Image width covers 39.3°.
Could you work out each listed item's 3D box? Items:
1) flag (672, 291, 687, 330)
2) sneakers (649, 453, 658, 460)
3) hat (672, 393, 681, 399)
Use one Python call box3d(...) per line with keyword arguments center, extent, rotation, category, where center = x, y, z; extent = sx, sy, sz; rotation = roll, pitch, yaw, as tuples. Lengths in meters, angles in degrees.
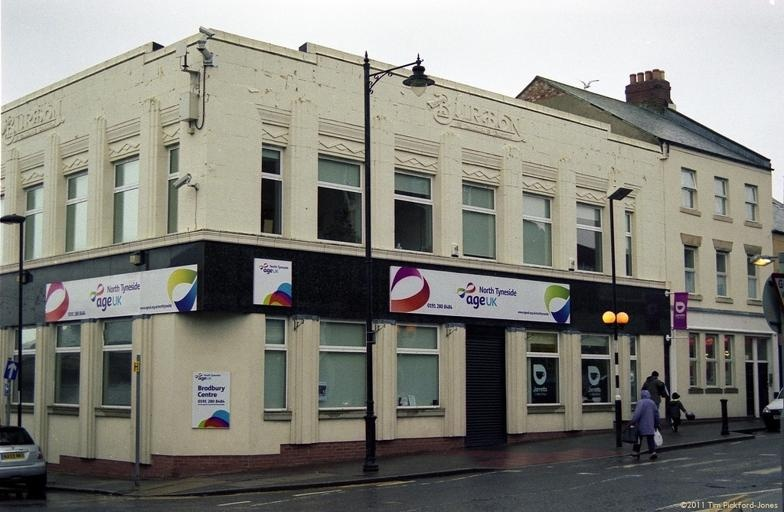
box3d(center=(13.719, 2.446, 52.142), extent=(0.924, 1.814, 0.696), rotation=(-8, -15, 25), category="flag")
box3d(center=(9.644, 7.339, 40.194), extent=(0.214, 0.230, 0.540), rotation=(-1, -7, 8), category="sneakers")
box3d(center=(12.500, 6.100, 48.162), extent=(0.310, 0.125, 0.341), rotation=(-2, 3, 1), category="hat")
